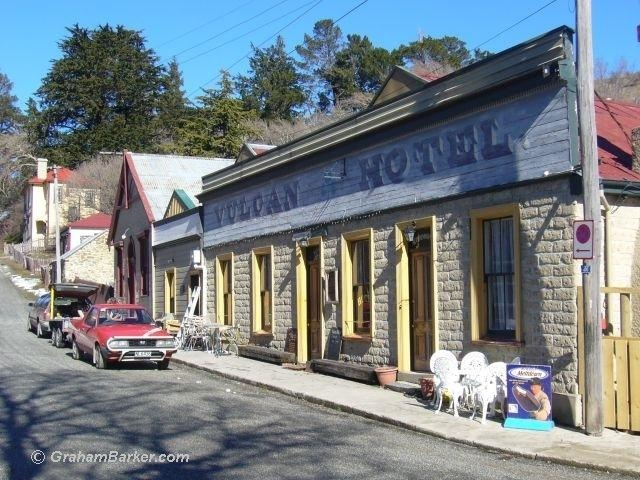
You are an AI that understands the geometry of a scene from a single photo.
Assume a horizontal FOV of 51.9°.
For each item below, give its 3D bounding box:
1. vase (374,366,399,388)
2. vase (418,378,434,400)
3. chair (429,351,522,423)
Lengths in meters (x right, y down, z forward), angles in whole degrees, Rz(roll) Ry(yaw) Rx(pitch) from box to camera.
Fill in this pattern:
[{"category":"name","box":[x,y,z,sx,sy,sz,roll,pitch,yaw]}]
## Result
[{"category":"vase","box":[1.654,3.321,15.956,0.649,0.464,0.417,0,-2,45]},{"category":"vase","box":[2.327,3.285,14.484,0.403,0.487,0.383,10,-17,-43]},{"category":"chair","box":[3.005,2.889,13.241,1.693,1.262,0.779,0,-2,41]}]
